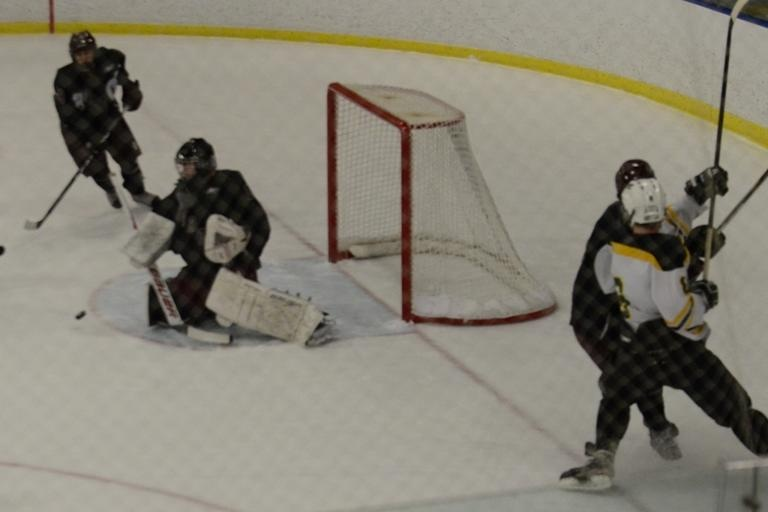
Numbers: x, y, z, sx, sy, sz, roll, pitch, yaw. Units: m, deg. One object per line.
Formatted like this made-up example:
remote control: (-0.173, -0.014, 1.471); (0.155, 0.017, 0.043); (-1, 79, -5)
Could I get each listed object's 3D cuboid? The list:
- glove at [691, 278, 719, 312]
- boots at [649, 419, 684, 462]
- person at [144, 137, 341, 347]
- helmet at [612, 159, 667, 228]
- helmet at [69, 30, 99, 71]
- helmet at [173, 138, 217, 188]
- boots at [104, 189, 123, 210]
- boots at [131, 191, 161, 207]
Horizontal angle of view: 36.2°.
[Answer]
glove: (1.677, 0.192, 6.085); (0.130, 0.161, 0.069); (-1, 5, 29)
boots: (1.502, 0.995, 6.311); (0.164, 0.195, 0.083); (-25, -16, -4)
person: (-0.893, -0.049, 7.325); (1.328, 1.127, 0.611); (9, 17, 20)
helmet: (1.310, -0.362, 6.113); (0.284, 0.323, 0.347); (-16, 25, 5)
helmet: (-2.006, -1.393, 7.770); (0.168, 0.226, 0.167); (-4, 16, -12)
helmet: (-1.154, -0.576, 6.963); (0.291, 0.265, 0.212); (-12, 26, -14)
boots: (-1.873, -0.395, 8.059); (0.068, 0.161, 0.056); (-13, 21, 48)
boots: (-1.627, -0.394, 7.887); (0.219, 0.054, 0.127); (14, 32, 23)
